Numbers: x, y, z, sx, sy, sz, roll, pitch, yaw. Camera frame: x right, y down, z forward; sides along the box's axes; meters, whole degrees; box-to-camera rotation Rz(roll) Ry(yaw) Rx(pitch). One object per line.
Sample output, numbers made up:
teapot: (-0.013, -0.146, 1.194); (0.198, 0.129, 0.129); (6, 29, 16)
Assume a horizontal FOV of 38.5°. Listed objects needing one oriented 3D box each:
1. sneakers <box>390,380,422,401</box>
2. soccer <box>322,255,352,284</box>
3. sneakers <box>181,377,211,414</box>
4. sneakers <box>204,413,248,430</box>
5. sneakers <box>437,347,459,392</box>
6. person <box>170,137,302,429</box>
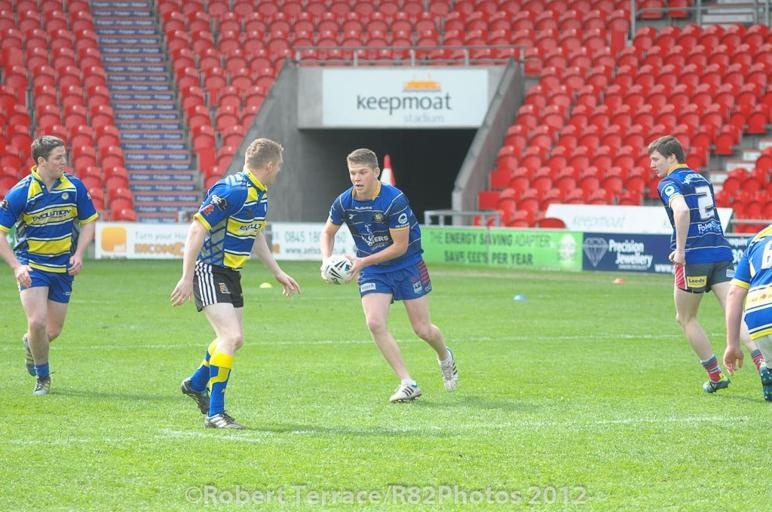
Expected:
sneakers: (0.256, 1.704, 14.087); (0.443, 0.273, 0.253); (-2, 10, -10)
soccer: (-0.615, 0.188, 14.207); (0.307, 0.289, 0.378); (3, -2, 6)
sneakers: (-2.318, 1.721, 13.563); (0.238, 0.459, 0.154); (-22, 31, 44)
sneakers: (-1.898, 1.967, 13.157); (0.476, 0.189, 0.175); (2, 0, 3)
sneakers: (0.847, 1.490, 14.390); (0.209, 0.584, 0.292); (-6, 13, 17)
person: (-1.866, 0.299, 13.319); (1.246, 3.347, 1.157); (0, 10, 0)
